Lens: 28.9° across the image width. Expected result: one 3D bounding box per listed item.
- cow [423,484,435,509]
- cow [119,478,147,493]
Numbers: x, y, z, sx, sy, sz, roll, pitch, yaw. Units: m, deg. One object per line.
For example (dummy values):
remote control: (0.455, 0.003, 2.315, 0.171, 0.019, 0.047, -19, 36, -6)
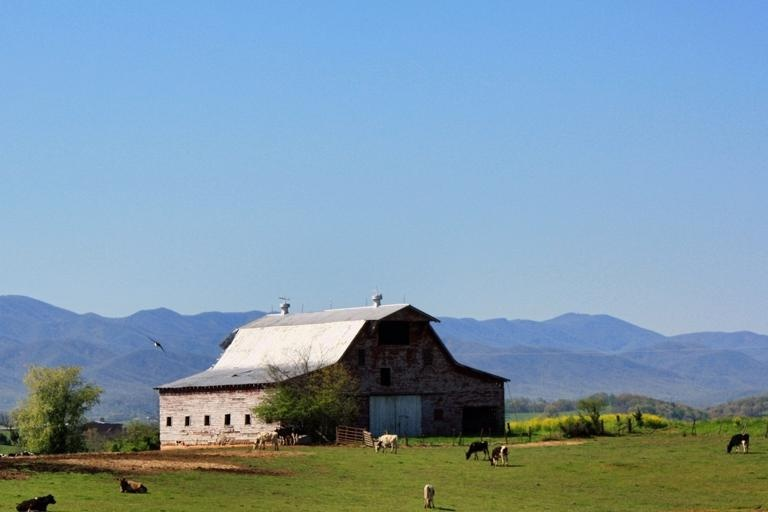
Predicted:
cow: (4.253, 20.330, 126.930, 0.887, 1.942, 2.603, -2, -4, 2)
cow: (-21.011, 19.426, 125.735, 2.912, 1.328, 0.922, 9, -7, 1)
